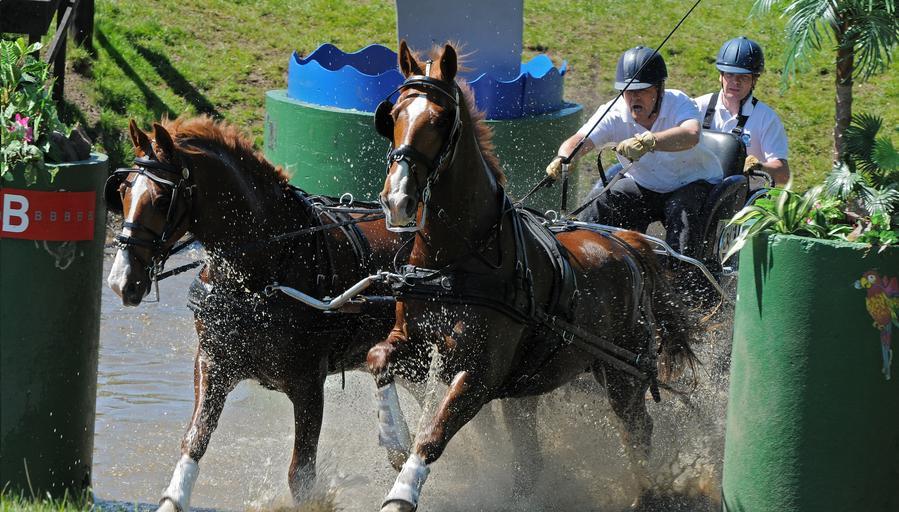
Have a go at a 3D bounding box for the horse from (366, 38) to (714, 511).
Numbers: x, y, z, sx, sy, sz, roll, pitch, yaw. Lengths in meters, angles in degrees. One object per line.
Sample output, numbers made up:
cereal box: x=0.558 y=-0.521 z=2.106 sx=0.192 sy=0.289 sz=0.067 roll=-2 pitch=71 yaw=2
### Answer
horse: x=0.587 y=0.273 z=12.945 sx=3.034 sy=4.119 sz=1.131 roll=-6 pitch=19 yaw=-34

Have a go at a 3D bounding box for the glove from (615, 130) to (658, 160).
glove: x=1.754 y=-1.025 z=13.887 sx=0.322 sy=0.152 sz=0.254 roll=-25 pitch=54 yaw=-3

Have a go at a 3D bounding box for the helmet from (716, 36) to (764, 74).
helmet: x=3.040 y=-2.116 z=15.526 sx=0.484 sy=0.317 sz=0.602 roll=9 pitch=20 yaw=11

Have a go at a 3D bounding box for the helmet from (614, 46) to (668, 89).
helmet: x=1.863 y=-1.873 z=14.539 sx=0.534 sy=0.383 sz=0.676 roll=10 pitch=21 yaw=19
